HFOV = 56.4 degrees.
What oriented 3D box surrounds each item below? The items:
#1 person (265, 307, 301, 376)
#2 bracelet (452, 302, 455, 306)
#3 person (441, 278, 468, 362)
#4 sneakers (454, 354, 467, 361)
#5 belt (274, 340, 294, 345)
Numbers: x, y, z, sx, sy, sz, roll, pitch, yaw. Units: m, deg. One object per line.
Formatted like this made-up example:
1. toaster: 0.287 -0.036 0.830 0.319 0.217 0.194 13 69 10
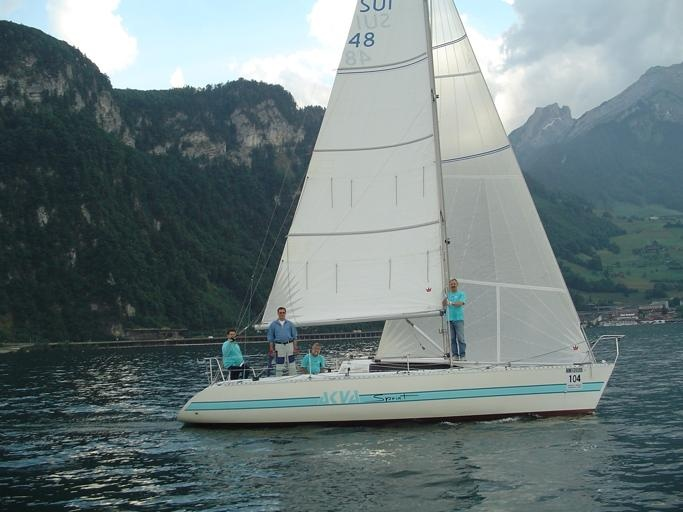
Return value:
1. person: -1.916 2.746 20.758 0.875 2.229 0.562 -3 -5 -7
2. bracelet: 3.613 1.549 20.540 0.117 0.092 0.210 -4 -5 3
3. person: 3.738 2.060 20.758 0.622 2.613 1.507 -5 -5 11
4. sneakers: 3.888 3.367 20.905 0.522 0.194 0.165 -3 -3 18
5. belt: -1.824 2.803 20.774 0.654 0.153 0.220 -1 -5 -23
